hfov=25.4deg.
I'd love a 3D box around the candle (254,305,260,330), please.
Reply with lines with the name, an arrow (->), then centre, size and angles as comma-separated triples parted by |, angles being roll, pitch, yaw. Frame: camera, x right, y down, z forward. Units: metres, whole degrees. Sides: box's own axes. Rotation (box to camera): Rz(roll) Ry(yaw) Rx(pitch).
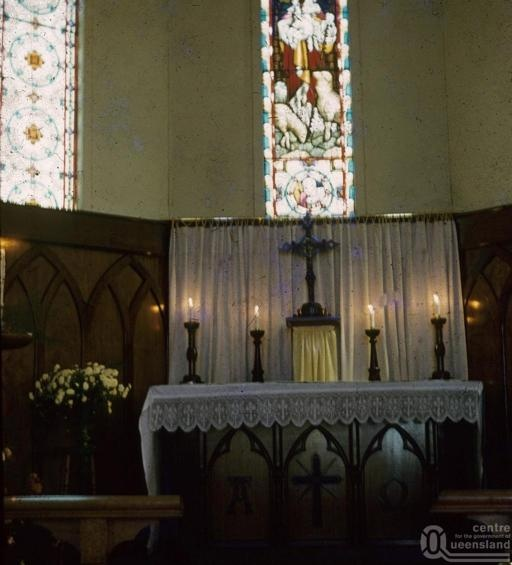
candle -> 0.005, 0.303, 9.643 | 0.051, 0.203, 0.186 | -1, -7, 0

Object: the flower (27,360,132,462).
flower -> -1.344, 0.951, 8.528 | 0.692, 0.693, 0.883 | 0, -8, -13
